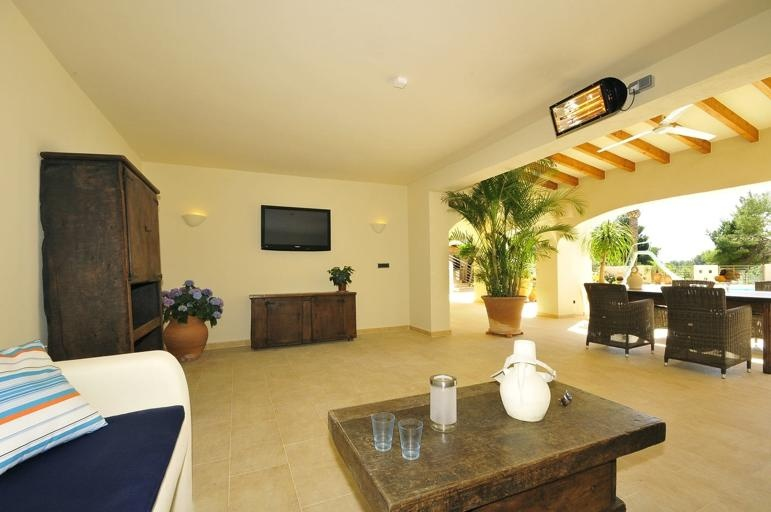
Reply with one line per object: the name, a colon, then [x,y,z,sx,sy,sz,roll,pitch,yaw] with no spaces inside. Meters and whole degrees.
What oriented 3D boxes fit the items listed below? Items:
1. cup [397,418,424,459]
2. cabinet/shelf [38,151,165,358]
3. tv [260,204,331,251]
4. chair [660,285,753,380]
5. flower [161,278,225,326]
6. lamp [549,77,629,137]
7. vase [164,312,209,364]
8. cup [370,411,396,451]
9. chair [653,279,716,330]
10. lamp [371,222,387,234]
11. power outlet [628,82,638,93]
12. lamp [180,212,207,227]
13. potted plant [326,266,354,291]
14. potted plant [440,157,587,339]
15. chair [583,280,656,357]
cup: [0.115,1.206,3.154,0.210,0.229,0.215,-1,-7,0]
cabinet/shelf: [-2.609,-0.043,4.363,0.754,1.750,0.996,-2,4,-13]
tv: [-1.407,-0.437,7.471,1.069,0.699,0.238,-2,4,-14]
chair: [3.910,0.772,5.683,1.009,1.371,0.947,-4,3,-39]
flower: [-2.469,0.632,6.331,0.508,0.405,0.572,15,-2,-37]
lamp: [2.032,-1.597,4.698,0.505,0.328,0.711,-30,6,-20]
vase: [-2.639,1.039,6.326,0.553,0.642,0.563,12,15,16]
cup: [-0.022,1.166,3.193,0.155,0.227,0.193,-1,4,-2]
chair: [3.653,0.616,5.830,0.685,0.672,0.497,2,6,36]
lamp: [-0.103,-0.482,8.095,0.311,0.206,0.140,-4,5,-39]
power outlet: [2.407,-1.640,4.631,0.085,0.111,0.038,1,5,24]
lamp: [-2.753,-0.524,6.854,0.326,0.208,0.156,-2,4,-22]
potted plant: [-0.727,0.366,7.560,0.388,0.360,0.385,1,-11,-13]
potted plant: [1.755,-0.089,8.688,2.711,3.296,2.883,0,-2,-1]
chair: [3.061,0.797,6.713,0.935,1.269,0.888,-3,3,-30]
